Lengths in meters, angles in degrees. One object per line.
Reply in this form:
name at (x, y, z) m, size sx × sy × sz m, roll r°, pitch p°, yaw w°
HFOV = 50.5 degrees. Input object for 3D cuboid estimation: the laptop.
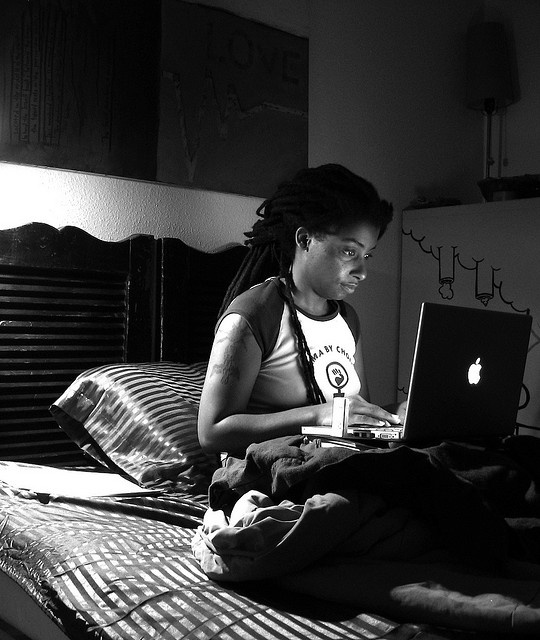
laptop at (0.271, 0.073, 1.058) m, size 0.191 × 0.286 × 0.320 m, roll 15°, pitch 8°, yaw 42°

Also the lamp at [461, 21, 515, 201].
lamp at (0.986, -0.956, 2.599) m, size 0.243 × 0.834 × 0.520 m, roll 4°, pitch 0°, yaw 18°

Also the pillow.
pillow at (-0.299, 0.234, 1.311) m, size 0.283 × 0.085 × 0.304 m, roll 31°, pitch 43°, yaw 22°
